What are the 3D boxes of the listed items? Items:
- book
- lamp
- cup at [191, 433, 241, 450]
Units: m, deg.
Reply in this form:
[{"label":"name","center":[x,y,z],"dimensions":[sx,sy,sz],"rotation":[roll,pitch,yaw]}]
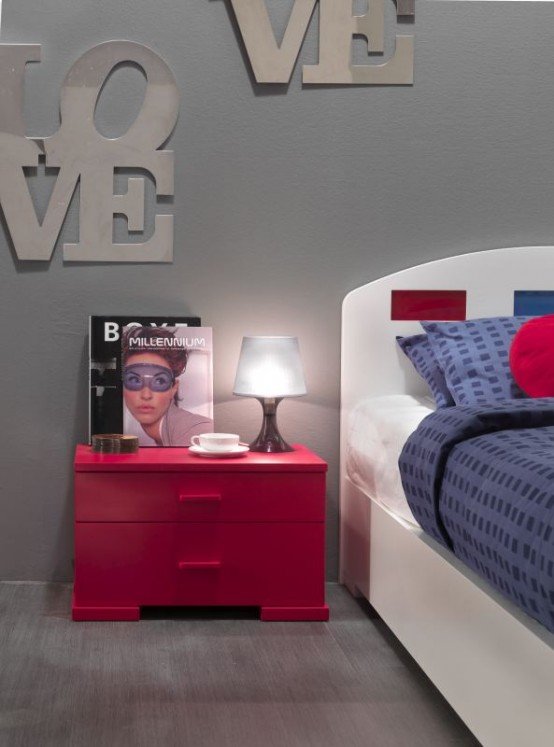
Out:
[{"label":"book","center":[-0.381,0.034,1.940],"dimensions":[0.384,0.407,0.033],"rotation":[0,-6,-9]},{"label":"lamp","center":[-0.020,0.056,1.875],"dimensions":[0.207,0.340,0.074],"rotation":[2,-3,0]},{"label":"cup","center":[-0.171,0.188,1.783],"dimensions":[0.082,0.035,0.068],"rotation":[-6,-5,11]}]
